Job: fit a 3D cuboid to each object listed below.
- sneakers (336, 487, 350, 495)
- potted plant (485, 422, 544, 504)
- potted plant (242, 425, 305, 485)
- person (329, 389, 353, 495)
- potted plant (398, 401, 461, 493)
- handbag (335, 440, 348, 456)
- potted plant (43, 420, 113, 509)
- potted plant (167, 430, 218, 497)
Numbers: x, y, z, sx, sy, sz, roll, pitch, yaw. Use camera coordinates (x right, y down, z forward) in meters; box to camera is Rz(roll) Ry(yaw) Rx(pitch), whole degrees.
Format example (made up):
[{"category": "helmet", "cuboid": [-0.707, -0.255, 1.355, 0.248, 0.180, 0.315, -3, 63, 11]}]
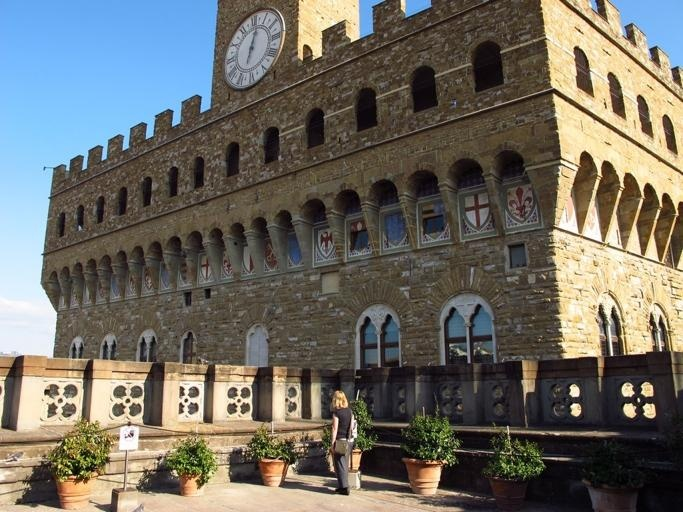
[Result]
[{"category": "sneakers", "cuboid": [0.031, 4.499, 10.508, 0.273, 0.123, 0.204, 0, -17, -2]}, {"category": "potted plant", "cuboid": [2.983, 3.823, 9.983, 1.155, 1.547, 1.092, 11, -23, -25]}, {"category": "potted plant", "cuboid": [-1.412, 4.246, 11.542, 0.966, 1.057, 1.015, -23, -29, 30]}, {"category": "person", "cuboid": [0.032, 3.677, 10.963, 0.457, 1.965, 0.653, -1, -15, 0]}, {"category": "potted plant", "cuboid": [1.600, 3.940, 11.198, 1.290, 1.896, 1.296, 2, -16, -2]}, {"category": "handbag", "cuboid": [0.004, 3.712, 10.687, 0.245, 0.284, 0.089, 0, -14, 24]}, {"category": "potted plant", "cuboid": [-4.790, 3.579, 9.783, 1.267, 1.580, 1.112, -6, -15, 23]}, {"category": "potted plant", "cuboid": [-2.801, 3.932, 10.258, 0.894, 0.994, 0.391, 4, -16, -17]}]
